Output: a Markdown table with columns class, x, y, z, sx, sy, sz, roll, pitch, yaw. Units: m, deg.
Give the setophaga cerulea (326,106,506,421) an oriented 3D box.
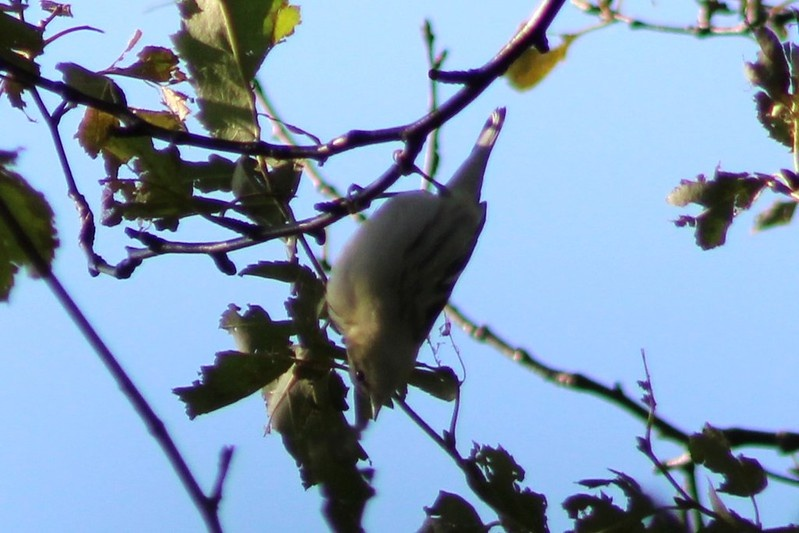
| class | x | y | z | sx | sy | sz | roll | pitch | yaw |
| --- | --- | --- | --- | --- | --- | --- | --- | --- | --- |
| setophaga cerulea | 0.000 | 0.002 | 1.196 | 0.069 | 0.115 | 0.205 | 25 | -72 | -13 |
